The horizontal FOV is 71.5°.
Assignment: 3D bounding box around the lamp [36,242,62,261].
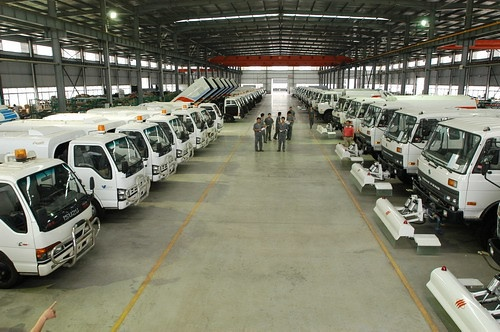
[{"bbox_3d":[-4.928,2.061,8.361,0.367,0.091,0.355,-10,19,28],"label":"lamp"}]
